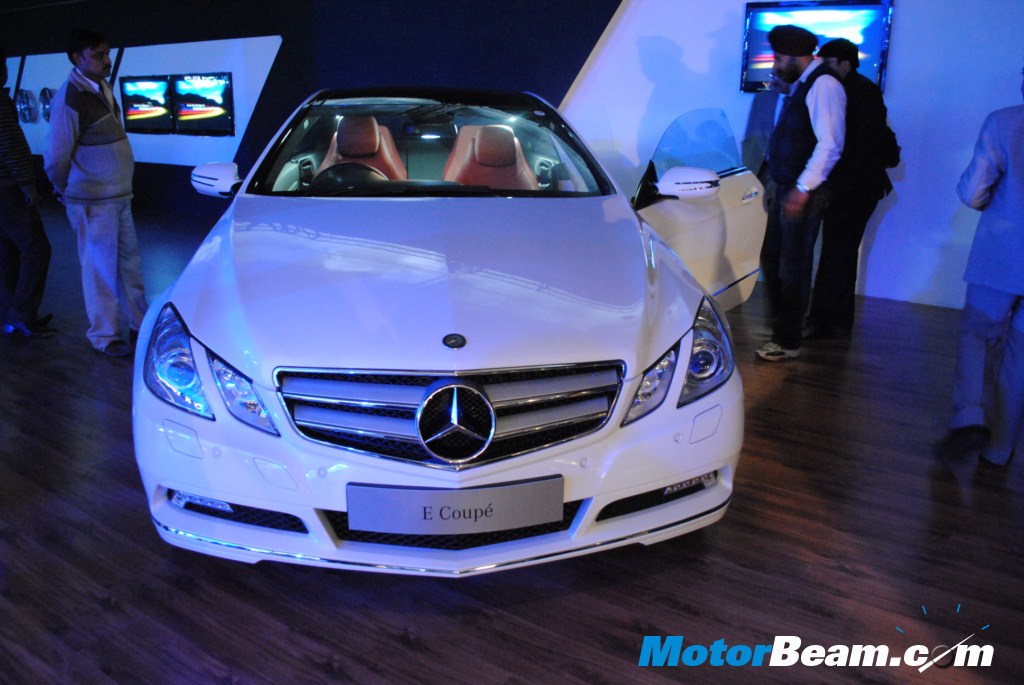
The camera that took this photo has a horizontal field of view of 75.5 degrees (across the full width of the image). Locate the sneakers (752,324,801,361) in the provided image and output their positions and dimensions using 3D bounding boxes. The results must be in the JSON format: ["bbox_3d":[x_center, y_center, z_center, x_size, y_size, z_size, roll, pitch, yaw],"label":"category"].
[{"bbox_3d":[1.591,0.031,3.911,0.366,0.173,0.138,-3,34,-13],"label":"sneakers"}]

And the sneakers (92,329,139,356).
[{"bbox_3d":[-2.247,0.004,3.732,0.255,0.189,0.087,3,19,-27],"label":"sneakers"}]

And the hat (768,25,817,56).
[{"bbox_3d":[1.497,-1.603,3.590,0.216,0.125,0.179,2,51,1],"label":"hat"}]
